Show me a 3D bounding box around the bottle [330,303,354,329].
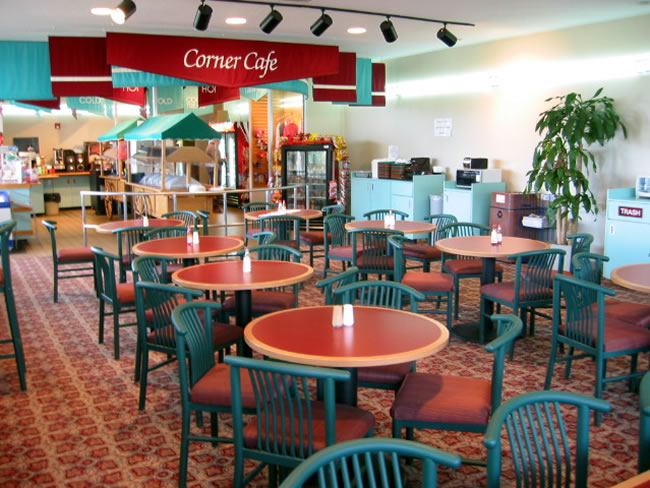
[{"bbox_3d":[0.106,0.445,3.144,0.173,0.155,0.091,-2,6,-2],"label":"bottle"}]

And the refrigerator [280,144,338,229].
[{"bbox_3d":[-0.453,-1.376,11.747,1.112,1.774,0.630,0,-12,-5],"label":"refrigerator"}]

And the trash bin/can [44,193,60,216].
[{"bbox_3d":[-8.096,-1.170,15.168,0.637,0.672,0.619,-2,10,-37],"label":"trash bin/can"}]
